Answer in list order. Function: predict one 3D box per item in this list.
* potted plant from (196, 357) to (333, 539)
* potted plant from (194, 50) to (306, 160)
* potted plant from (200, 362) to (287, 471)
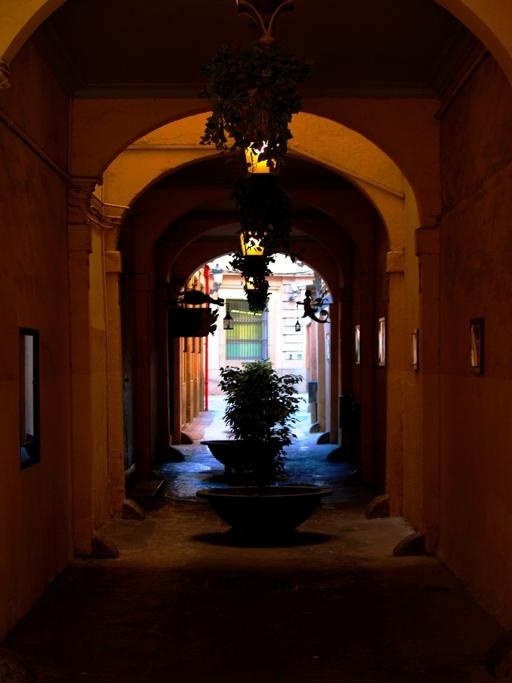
[{"bbox_3d":[0.110,1.303,8.790,1.698,2.396,1.903,-3,-3,1],"label":"potted plant"},{"bbox_3d":[0.028,-1.000,2.802,0.434,0.541,0.447,5,4,8],"label":"potted plant"},{"bbox_3d":[-0.151,1.316,10.922,1.479,2.560,1.683,0,-8,-7],"label":"potted plant"}]
